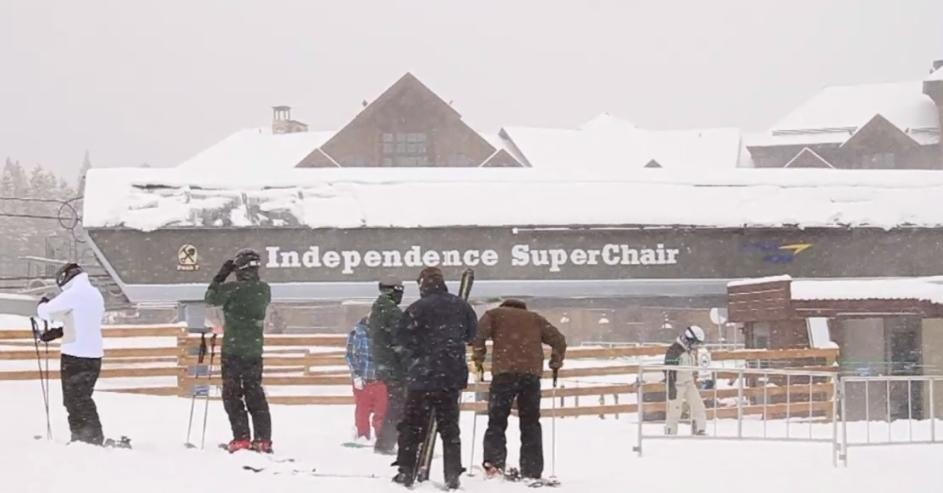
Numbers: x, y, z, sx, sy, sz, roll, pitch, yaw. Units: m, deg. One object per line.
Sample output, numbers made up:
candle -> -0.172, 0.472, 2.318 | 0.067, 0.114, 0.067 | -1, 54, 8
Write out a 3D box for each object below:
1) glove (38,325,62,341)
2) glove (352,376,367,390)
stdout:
glove -> -15.446, 3.243, 57.844 | 0.779, 0.555, 0.691 | 1, -10, -13
glove -> -4.240, 5.135, 59.180 | 0.457, 0.446, 0.543 | -2, 4, -9
